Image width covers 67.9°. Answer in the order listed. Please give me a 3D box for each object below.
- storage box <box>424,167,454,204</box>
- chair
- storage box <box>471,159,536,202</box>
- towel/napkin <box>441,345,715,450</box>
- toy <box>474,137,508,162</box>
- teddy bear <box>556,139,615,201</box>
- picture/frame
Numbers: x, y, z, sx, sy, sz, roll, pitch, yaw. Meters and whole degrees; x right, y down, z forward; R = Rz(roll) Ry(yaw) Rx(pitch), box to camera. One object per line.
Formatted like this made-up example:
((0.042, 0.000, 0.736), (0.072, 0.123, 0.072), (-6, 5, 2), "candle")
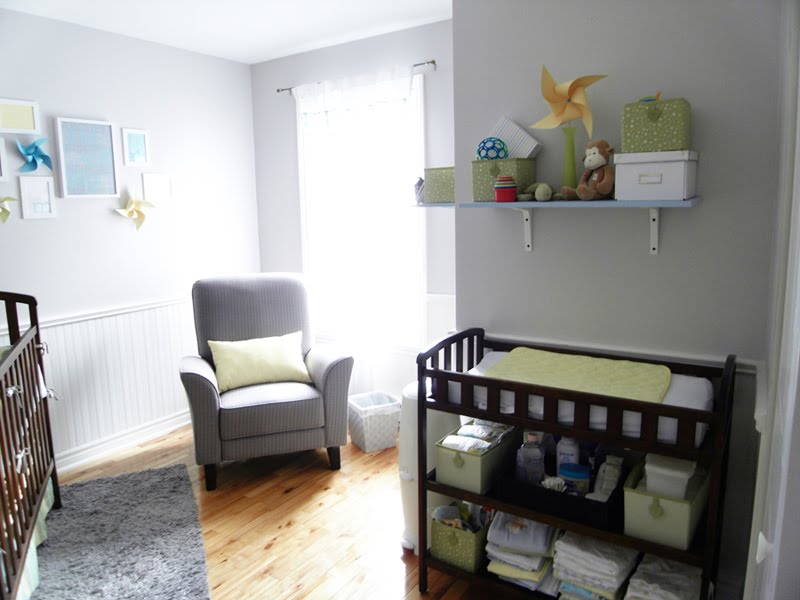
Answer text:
((0.195, -0.567, 2.937), (0.151, 0.163, 0.086), (7, 18, 28), "storage box")
((-0.842, 0.456, 3.684), (0.974, 1.176, 0.706), (-6, 9, -22), "chair")
((0.439, -0.565, 2.653), (0.222, 0.170, 0.137), (1, 29, 15), "storage box")
((0.745, 0.289, 2.238), (0.668, 0.104, 0.404), (4, 9, 27), "towel/napkin")
((0.415, -0.681, 2.658), (0.135, 0.123, 0.163), (0, 9, 18), "toy")
((0.780, -0.531, 2.441), (0.222, 0.240, 0.158), (-15, 13, -32), "teddy bear")
((-1.998, -0.838, 3.740), (0.071, 0.749, 0.844), (6, 12, 43), "picture/frame")
